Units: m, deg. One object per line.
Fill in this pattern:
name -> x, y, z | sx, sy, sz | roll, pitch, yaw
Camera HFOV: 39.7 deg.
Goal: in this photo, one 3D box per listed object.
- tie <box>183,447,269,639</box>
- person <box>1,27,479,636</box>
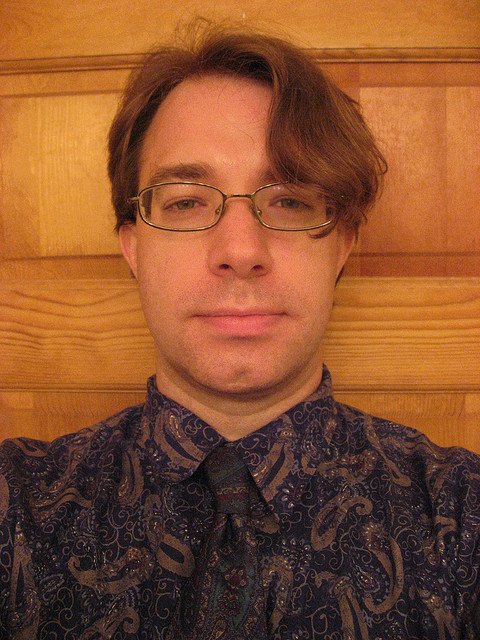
tie -> -0.022, 0.299, 0.918 | 0.105, 0.212, 0.163 | -2, 2, 1
person -> 0.042, -0.003, 1.110 | 0.759, 0.815, 0.417 | 0, -18, 0
